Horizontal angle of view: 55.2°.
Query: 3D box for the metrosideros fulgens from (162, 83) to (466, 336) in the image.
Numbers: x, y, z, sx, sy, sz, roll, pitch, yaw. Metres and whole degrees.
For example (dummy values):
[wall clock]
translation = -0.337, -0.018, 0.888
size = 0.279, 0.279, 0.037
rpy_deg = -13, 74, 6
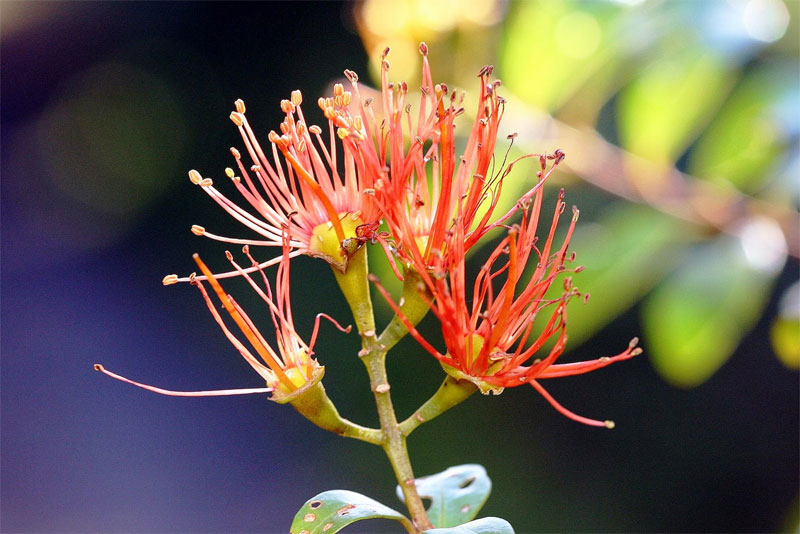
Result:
[metrosideros fulgens]
translation = -0.136, -0.050, 1.638
size = 0.596, 0.547, 0.499
rpy_deg = -16, -5, 15
